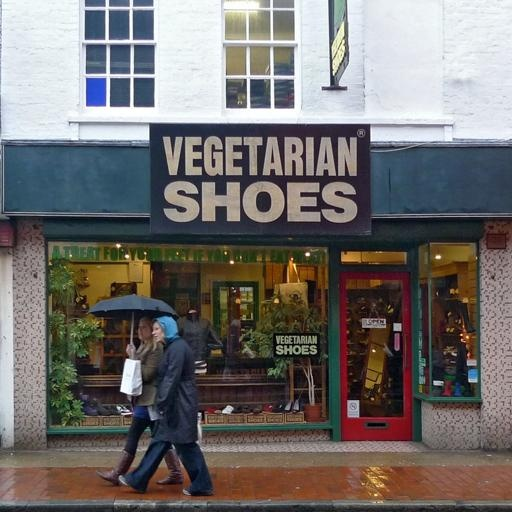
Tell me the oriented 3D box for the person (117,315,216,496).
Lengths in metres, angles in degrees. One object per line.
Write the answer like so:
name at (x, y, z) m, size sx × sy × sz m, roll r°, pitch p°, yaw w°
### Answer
person at (-0.994, 1.789, 9.405) m, size 0.953 × 2.103 × 0.487 m, roll 1°, pitch 1°, yaw 6°

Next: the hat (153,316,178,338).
hat at (-1.094, 0.846, 9.642) m, size 0.247 × 0.225 × 0.275 m, roll 6°, pitch 0°, yaw -11°

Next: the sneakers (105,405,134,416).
sneakers at (-2.097, 2.314, 12.035) m, size 0.278 × 0.089 × 0.196 m, roll -1°, pitch -3°, yaw 0°

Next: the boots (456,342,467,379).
boots at (3.119, 1.594, 12.054) m, size 0.166 × 0.578 × 0.126 m, roll 1°, pitch 1°, yaw 16°

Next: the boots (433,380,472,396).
boots at (2.960, 1.999, 12.114) m, size 0.706 × 0.258 × 0.215 m, roll 2°, pitch -8°, yaw 3°

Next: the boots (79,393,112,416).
boots at (-2.408, 2.263, 12.067) m, size 0.615 × 0.237 × 0.216 m, roll 1°, pitch -6°, yaw 23°

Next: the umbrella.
umbrella at (-1.628, 0.807, 10.212) m, size 1.095 × 0.693 × 1.058 m, roll -2°, pitch -5°, yaw 26°
